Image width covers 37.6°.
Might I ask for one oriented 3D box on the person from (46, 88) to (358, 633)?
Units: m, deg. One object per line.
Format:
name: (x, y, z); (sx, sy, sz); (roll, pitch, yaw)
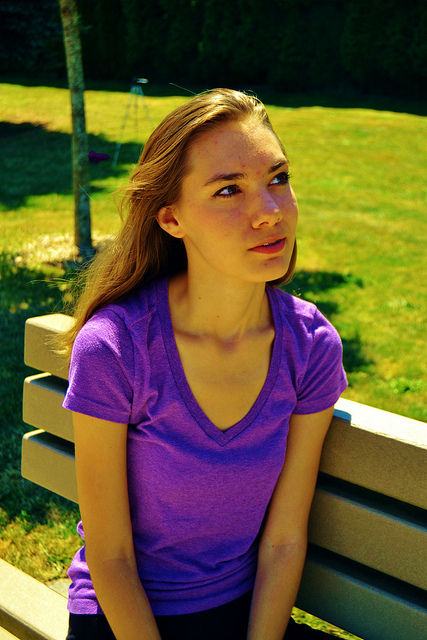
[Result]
person: (-0.001, 0.094, 1.494); (0.685, 1.223, 0.642); (0, 20, -13)
